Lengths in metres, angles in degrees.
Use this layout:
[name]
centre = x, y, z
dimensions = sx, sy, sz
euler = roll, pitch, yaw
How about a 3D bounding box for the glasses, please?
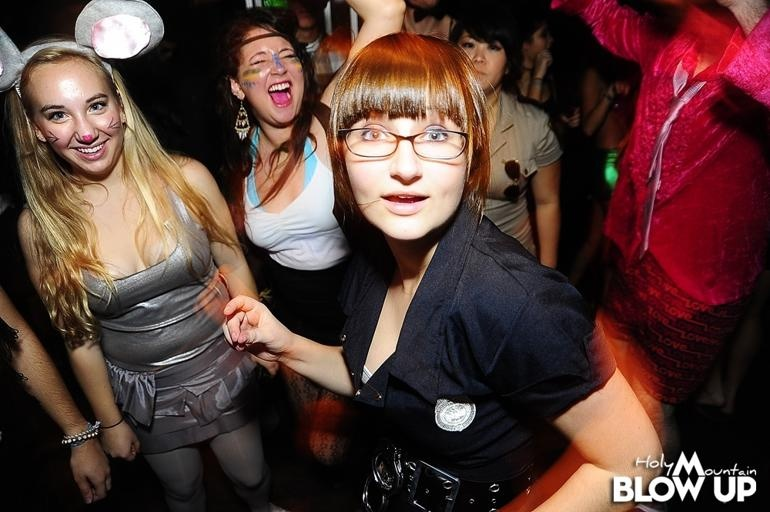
[glasses]
centre = 0.066, -0.415, 2.210
dimensions = 0.465, 0.137, 0.084
euler = -3, 23, 11
